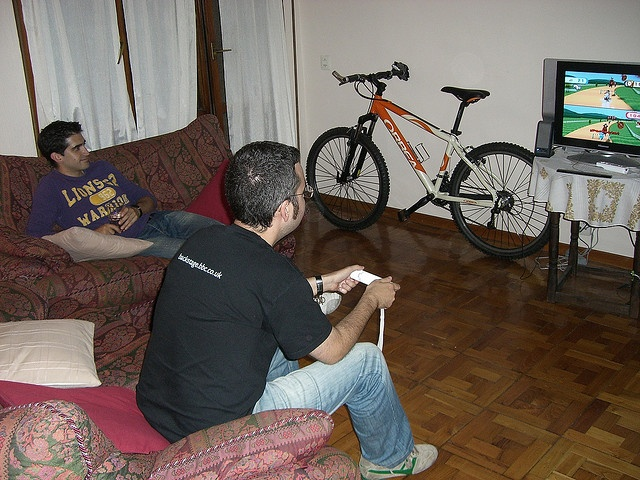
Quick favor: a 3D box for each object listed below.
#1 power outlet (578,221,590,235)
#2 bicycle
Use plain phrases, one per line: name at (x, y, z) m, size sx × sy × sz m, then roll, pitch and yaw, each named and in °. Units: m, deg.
power outlet at (1.809, -0.089, 3.253) m, size 0.052 × 0.073 × 0.029 m, roll 32°, pitch 45°, yaw 7°
bicycle at (0.930, -0.814, 4.242) m, size 2.297 × 1.424 × 1.187 m, roll 21°, pitch 39°, yaw 31°
